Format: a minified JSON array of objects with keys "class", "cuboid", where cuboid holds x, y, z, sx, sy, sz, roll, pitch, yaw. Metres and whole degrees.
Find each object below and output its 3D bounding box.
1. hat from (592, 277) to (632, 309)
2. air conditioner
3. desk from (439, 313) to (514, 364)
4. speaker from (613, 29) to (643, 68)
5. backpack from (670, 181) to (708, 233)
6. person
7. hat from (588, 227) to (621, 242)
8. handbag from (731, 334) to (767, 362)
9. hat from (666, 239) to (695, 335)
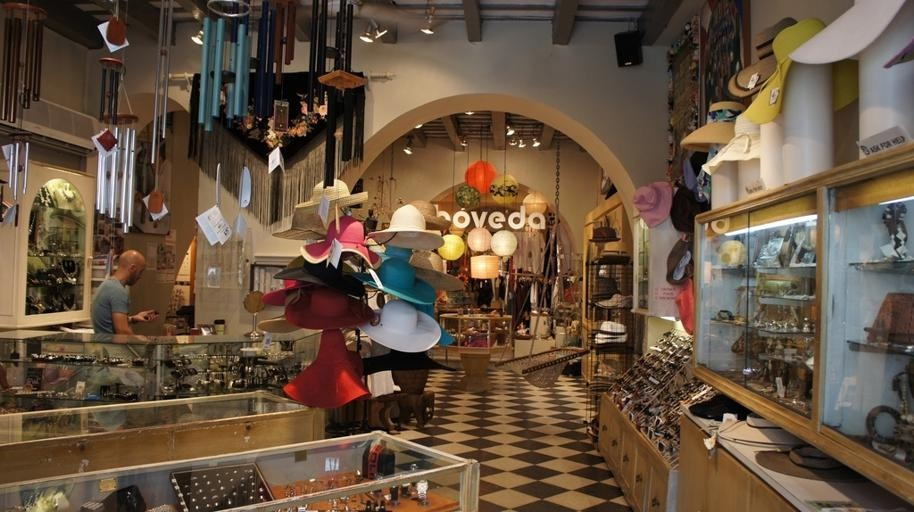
[{"class":"hat","cuboid":[2.335,0.556,9.451,0.454,0.230,0.576,2,1,8]},{"class":"air conditioner","cuboid":[-4.631,-1.538,7.191,0.248,0.363,1.406,12,2,11]},{"class":"desk","cuboid":[0.286,1.495,12.100,1.125,0.706,1.410,4,-4,-41]},{"class":"speaker","cuboid":[2.188,-2.617,7.899,0.356,0.473,0.269,7,30,40]},{"class":"backpack","cuboid":[2.393,-0.512,6.620,0.203,0.492,0.467,-2,23,-22]},{"class":"person","cuboid":[-3.573,0.378,6.731,0.530,0.892,0.820,2,-4,-20]},{"class":"hat","cuboid":[2.255,-0.326,9.548,0.307,0.157,0.385,2,6,12]},{"class":"handbag","cuboid":[2.264,0.705,4.889,0.154,0.196,0.274,5,-8,4]},{"class":"hat","cuboid":[2.363,0.280,6.603,0.330,0.861,0.686,2,-3,9]}]
